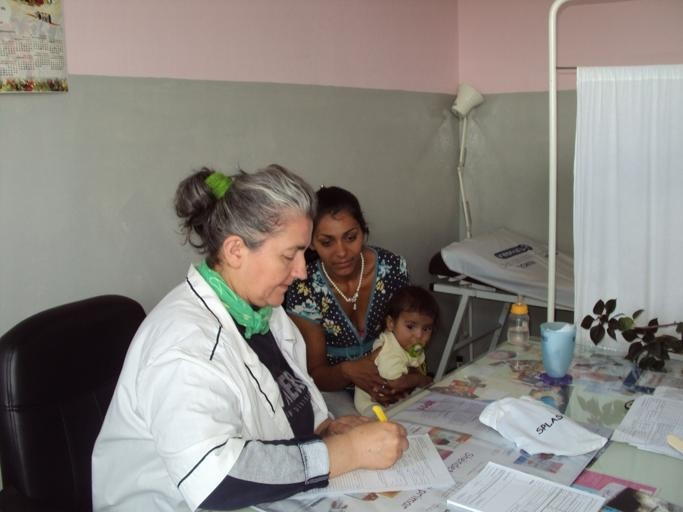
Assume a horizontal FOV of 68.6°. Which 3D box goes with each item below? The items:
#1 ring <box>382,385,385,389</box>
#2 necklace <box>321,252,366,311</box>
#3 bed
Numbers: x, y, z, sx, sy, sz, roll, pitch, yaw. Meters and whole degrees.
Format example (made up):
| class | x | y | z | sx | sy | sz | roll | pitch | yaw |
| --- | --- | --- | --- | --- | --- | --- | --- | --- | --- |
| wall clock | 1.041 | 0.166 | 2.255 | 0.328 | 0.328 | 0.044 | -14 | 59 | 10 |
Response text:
| class | x | y | z | sx | sy | sz | roll | pitch | yaw |
| --- | --- | --- | --- | --- | --- | --- | --- | --- | --- |
| ring | 0.176 | 0.547 | 2.154 | 0.016 | 0.016 | 0.004 | 5 | 2 | 4 |
| necklace | 0.017 | 0.129 | 2.340 | 0.145 | 0.295 | 0.049 | -17 | 2 | -28 |
| bed | 0.997 | 0.147 | 3.443 | 1.065 | 1.120 | 0.874 | 2 | 11 | 31 |
